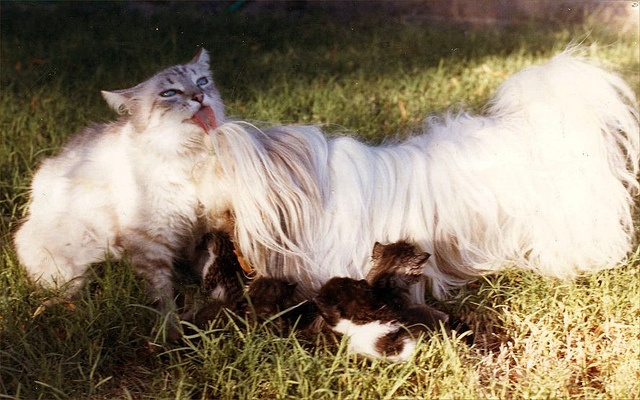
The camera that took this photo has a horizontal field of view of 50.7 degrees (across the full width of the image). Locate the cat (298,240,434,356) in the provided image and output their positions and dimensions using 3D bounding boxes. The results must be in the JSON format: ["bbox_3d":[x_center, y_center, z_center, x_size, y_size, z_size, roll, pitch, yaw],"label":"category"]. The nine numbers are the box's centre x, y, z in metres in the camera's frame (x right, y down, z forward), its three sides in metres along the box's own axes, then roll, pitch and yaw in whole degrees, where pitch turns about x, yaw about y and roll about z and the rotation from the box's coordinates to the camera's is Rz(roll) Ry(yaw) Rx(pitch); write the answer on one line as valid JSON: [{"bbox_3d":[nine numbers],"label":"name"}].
[{"bbox_3d":[0.291,0.588,3.625,0.552,0.441,0.835,21,39,-5],"label":"cat"}]

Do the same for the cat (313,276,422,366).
[{"bbox_3d":[0.227,0.627,3.484,0.543,0.305,0.234,14,33,29],"label":"cat"}]
